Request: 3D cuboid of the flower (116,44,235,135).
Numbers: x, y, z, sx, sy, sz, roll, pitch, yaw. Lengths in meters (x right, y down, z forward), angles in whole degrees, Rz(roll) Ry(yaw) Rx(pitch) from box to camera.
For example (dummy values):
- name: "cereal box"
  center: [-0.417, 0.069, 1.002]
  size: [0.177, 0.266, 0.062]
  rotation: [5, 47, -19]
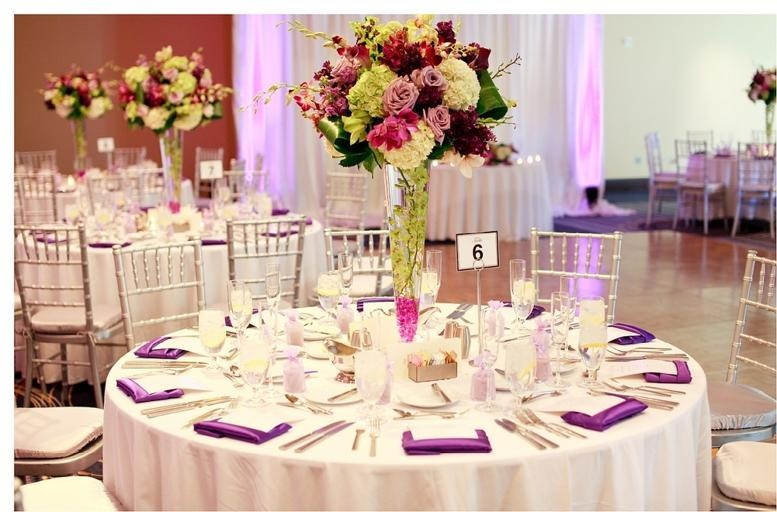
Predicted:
- name: "flower"
  center: [-1.764, -1.352, 5.040]
  size: [0.782, 0.469, 0.779]
  rotation: [-4, 33, -20]

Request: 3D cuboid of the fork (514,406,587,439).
- name: "fork"
  center: [0.618, 0.652, 2.363]
  size: [0.088, 0.034, 0.325]
  rotation: [-27, 25, -30]

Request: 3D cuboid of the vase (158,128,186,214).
- name: "vase"
  center: [-1.797, -0.717, 5.140]
  size: [0.171, 0.714, 0.241]
  rotation: [-5, 5, -22]

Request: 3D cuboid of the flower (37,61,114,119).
- name: "flower"
  center: [-2.858, -1.512, 5.663]
  size: [0.621, 0.515, 0.273]
  rotation: [-3, 4, 4]

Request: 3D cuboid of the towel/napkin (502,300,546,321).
- name: "towel/napkin"
  center: [0.783, 0.297, 3.333]
  size: [0.112, 0.054, 0.166]
  rotation: [-5, 11, -20]

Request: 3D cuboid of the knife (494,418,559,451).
- name: "knife"
  center: [0.527, 0.672, 2.316]
  size: [0.075, 0.014, 0.278]
  rotation: [-17, 17, -27]

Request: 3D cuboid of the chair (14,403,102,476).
- name: "chair"
  center: [-1.632, 0.916, 3.056]
  size: [0.457, 0.289, 0.362]
  rotation: [-4, 4, -15]

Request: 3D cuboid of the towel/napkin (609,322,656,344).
- name: "towel/napkin"
  center: [1.203, 0.390, 3.006]
  size: [0.135, 0.035, 0.141]
  rotation: [7, 9, 23]

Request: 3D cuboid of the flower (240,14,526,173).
- name: "flower"
  center: [0.006, -0.747, 2.882]
  size: [0.886, 0.551, 0.851]
  rotation: [21, 20, 38]

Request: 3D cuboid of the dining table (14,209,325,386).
- name: "dining table"
  center: [-1.521, 0.248, 4.860]
  size: [1.557, 0.816, 1.533]
  rotation: [-1, 1, -35]

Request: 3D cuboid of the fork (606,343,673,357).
- name: "fork"
  center: [1.180, 0.443, 2.887]
  size: [0.349, 0.061, 0.062]
  rotation: [-3, -8, -1]

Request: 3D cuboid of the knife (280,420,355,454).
- name: "knife"
  center: [-0.278, 0.681, 2.311]
  size: [0.087, 0.027, 0.338]
  rotation: [7, 13, 32]
